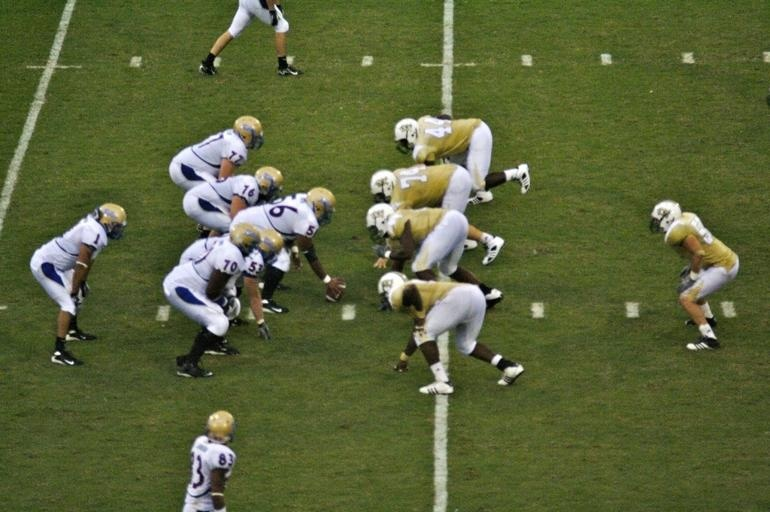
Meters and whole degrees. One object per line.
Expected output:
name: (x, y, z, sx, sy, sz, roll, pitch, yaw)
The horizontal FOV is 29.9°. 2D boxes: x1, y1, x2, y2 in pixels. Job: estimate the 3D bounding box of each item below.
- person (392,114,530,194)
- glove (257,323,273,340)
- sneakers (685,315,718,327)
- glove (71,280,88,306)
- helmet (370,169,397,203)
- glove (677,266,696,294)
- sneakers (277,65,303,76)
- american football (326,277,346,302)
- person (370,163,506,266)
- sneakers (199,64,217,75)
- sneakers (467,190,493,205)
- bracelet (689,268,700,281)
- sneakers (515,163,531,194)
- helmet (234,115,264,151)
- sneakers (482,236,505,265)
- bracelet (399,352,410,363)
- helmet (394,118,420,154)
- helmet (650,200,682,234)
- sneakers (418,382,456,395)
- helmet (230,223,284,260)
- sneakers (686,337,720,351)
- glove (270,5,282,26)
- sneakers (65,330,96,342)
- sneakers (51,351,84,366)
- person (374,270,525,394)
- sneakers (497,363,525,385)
person: (1.044, -1.259, 19.704, 1.908, 1.013, 0.874, 1, 12, 4)
glove: (-1.503, 0.955, 18.122, 0.117, 0.266, 0.120, -27, 40, -7)
sneakers: (3.986, 0.838, 18.207, 0.434, 0.154, 0.121, 6, 41, 2)
glove: (-3.773, 0.471, 18.006, 0.104, 0.243, 0.267, 24, 20, -3)
helmet: (-0.023, -0.900, 18.727, 0.329, 0.408, 0.366, 1, 56, -1)
glove: (3.805, 0.300, 18.097, 0.137, 0.299, 0.223, 26, 17, -30)
sneakers: (-1.441, -2.831, 21.921, 0.466, 0.151, 0.131, -3, 26, -9)
american football: (-0.650, 0.434, 18.681, 0.166, 0.304, 0.242, 26, 70, 24)
person: (0.696, -0.533, 18.908, 1.995, 1.224, 1.125, 6, 13, 30)
sneakers: (-2.654, -2.815, 21.795, 0.106, 0.128, 0.195, -2, 14, -29)
sneakers: (1.327, -0.811, 20.046, 0.442, 0.110, 0.235, -1, -4, 7)
bracelet: (3.813, 0.243, 17.922, 0.137, 0.099, 0.119, 3, 2, 8)
sneakers: (1.838, -1.053, 19.679, 0.175, 0.433, 0.215, 12, 46, 35)
helmet: (-1.868, -1.628, 19.425, 0.483, 0.336, 0.316, 8, 3, -21)
sneakers: (1.384, -0.100, 19.148, 0.253, 0.476, 0.163, 5, 43, -16)
bracelet: (0.243, 1.244, 17.720, 0.141, 0.096, 0.114, 14, 1, -25)
helmet: (0.275, -1.661, 19.552, 0.456, 0.369, 0.336, -18, 22, -35)
helmet: (3.537, -0.546, 18.329, 0.504, 0.382, 0.350, 0, 24, 13)
sneakers: (0.619, 1.622, 17.517, 0.495, 0.166, 0.138, 1, 37, 2)
helmet: (-1.582, -0.203, 17.837, 0.635, 0.431, 0.418, 32, 15, -17)
sneakers: (3.922, 1.086, 17.973, 0.488, 0.156, 0.141, 1, 20, 1)
glove: (-1.600, -3.574, 21.342, 0.106, 0.273, 0.217, -9, 30, 29)
sneakers: (-3.839, 1.008, 18.226, 0.432, 0.128, 0.132, 0, 12, -1)
sneakers: (-3.928, 1.271, 17.853, 0.448, 0.144, 0.148, 4, 25, -2)
person: (0.749, 0.958, 17.658, 2.032, 1.203, 0.879, 3, 1, 25)
sneakers: (1.508, 1.437, 17.596, 0.204, 0.417, 0.145, 36, 52, -13)
